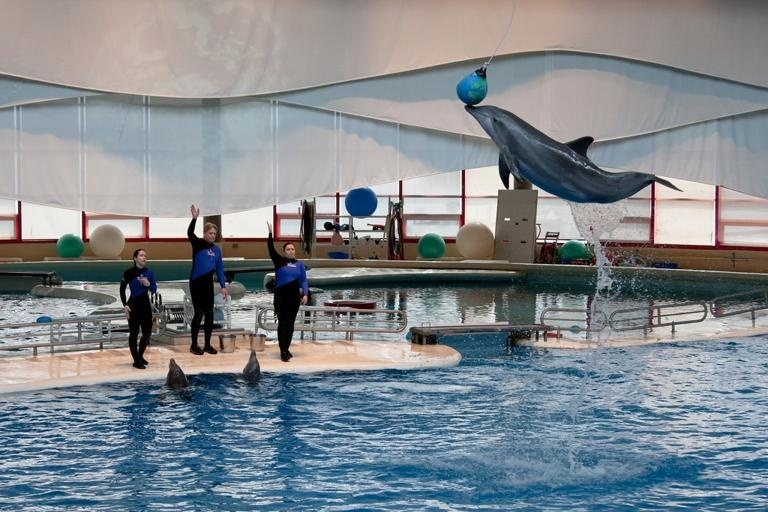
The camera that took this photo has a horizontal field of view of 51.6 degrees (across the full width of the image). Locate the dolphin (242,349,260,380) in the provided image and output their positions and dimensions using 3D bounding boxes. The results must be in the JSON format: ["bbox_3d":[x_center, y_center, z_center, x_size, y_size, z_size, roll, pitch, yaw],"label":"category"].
[{"bbox_3d":[-1.803,1.450,10.689,0.239,0.358,0.325,1,-3,-9],"label":"dolphin"}]

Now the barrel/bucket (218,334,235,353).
[{"bbox_3d":[-2.269,1.239,11.376,0.253,0.203,0.250,1,3,0],"label":"barrel/bucket"}]

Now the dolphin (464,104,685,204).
[{"bbox_3d":[2.011,-1.217,9.482,2.040,1.124,0.557,1,-3,-13],"label":"dolphin"}]

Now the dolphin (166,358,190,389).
[{"bbox_3d":[-2.686,1.502,10.300,0.296,0.370,0.270,1,-3,-25],"label":"dolphin"}]

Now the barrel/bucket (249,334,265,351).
[{"bbox_3d":[-1.850,1.246,11.509,0.260,0.173,0.232,2,0,1],"label":"barrel/bucket"}]

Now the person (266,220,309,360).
[{"bbox_3d":[-1.367,0.508,11.149,0.588,1.701,0.668,0,0,-23],"label":"person"}]
